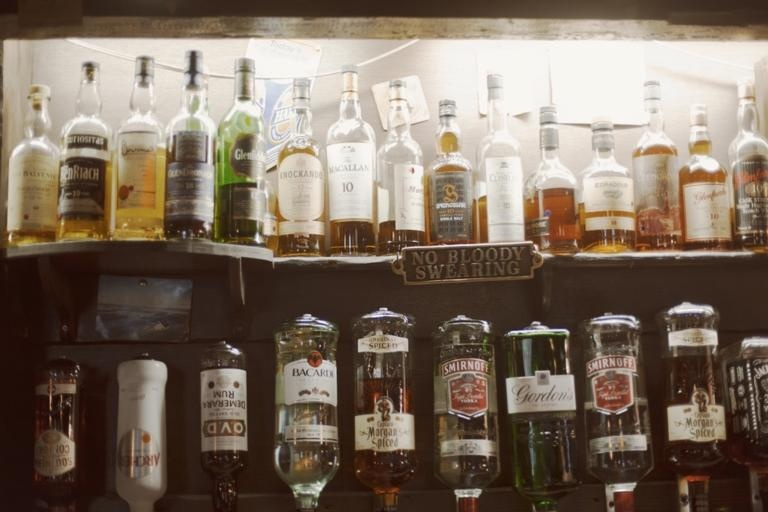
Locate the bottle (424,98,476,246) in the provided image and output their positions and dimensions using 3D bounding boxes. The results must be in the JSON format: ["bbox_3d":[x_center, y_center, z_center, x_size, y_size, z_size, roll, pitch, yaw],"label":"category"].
[{"bbox_3d":[0.198,-0.254,2.716,0.144,0.453,0.195,-1,-5,5],"label":"bottle"}]

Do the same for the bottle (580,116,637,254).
[{"bbox_3d":[0.672,-0.211,2.694,0.167,0.415,0.169,-1,-5,0],"label":"bottle"}]

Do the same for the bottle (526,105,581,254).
[{"bbox_3d":[0.506,-0.226,2.710,0.155,0.459,0.203,-2,-5,11],"label":"bottle"}]

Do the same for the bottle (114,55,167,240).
[{"bbox_3d":[-0.711,-0.316,2.578,0.145,0.554,0.194,1,-6,-17],"label":"bottle"}]

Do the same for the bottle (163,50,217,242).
[{"bbox_3d":[-0.560,-0.319,2.567,0.138,0.562,0.189,0,-6,-11],"label":"bottle"}]

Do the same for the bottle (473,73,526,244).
[{"bbox_3d":[0.352,-0.300,2.731,0.147,0.538,0.241,-2,-5,8],"label":"bottle"}]

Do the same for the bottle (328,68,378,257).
[{"bbox_3d":[-0.099,-0.292,2.713,0.161,0.592,0.197,-1,-5,-4],"label":"bottle"}]

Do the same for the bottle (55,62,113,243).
[{"bbox_3d":[-0.864,-0.312,2.566,0.141,0.551,0.227,0,-5,-10],"label":"bottle"}]

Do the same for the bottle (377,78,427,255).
[{"bbox_3d":[0.049,-0.272,2.716,0.143,0.542,0.211,-1,-5,2],"label":"bottle"}]

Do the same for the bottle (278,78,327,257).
[{"bbox_3d":[-0.255,-0.268,2.684,0.147,0.551,0.173,0,-6,-7],"label":"bottle"}]
